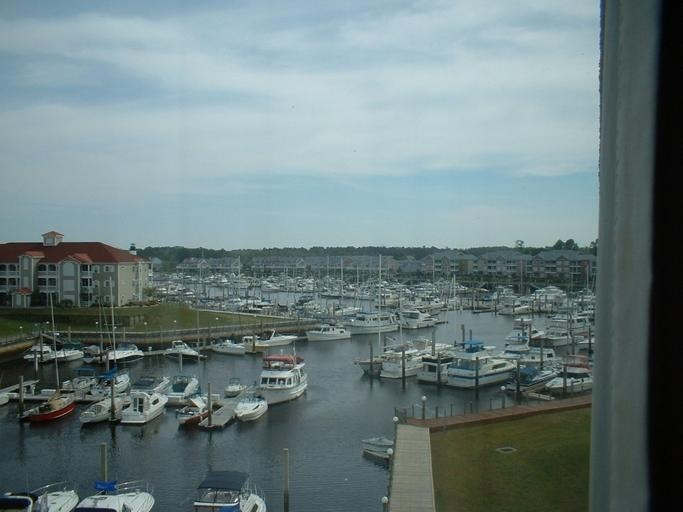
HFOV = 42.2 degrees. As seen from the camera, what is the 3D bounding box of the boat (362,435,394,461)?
[{"bbox_3d":[0.700,3.740,17.365,0.327,0.315,0.916,0,-2,-19],"label":"boat"}]
